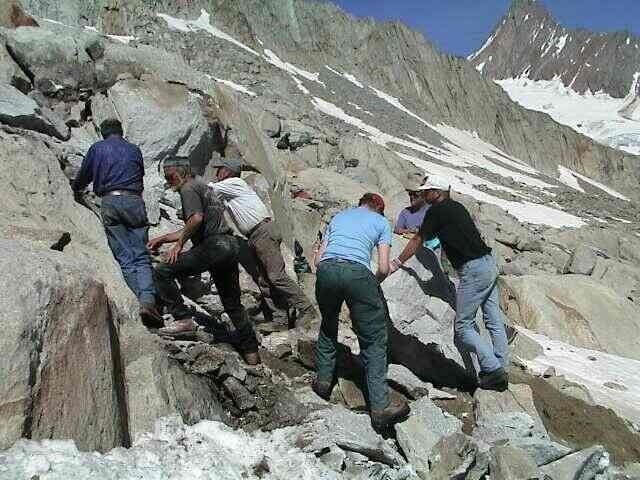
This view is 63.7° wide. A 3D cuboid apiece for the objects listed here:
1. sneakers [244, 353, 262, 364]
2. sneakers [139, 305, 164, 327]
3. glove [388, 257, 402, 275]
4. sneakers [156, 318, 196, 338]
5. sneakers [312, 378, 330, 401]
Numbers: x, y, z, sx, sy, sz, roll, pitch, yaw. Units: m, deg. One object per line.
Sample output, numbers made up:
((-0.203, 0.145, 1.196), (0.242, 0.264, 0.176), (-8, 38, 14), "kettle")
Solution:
((-0.713, 1.268, 5.506), (0.154, 0.097, 0.159), (19, 45, -19), "sneakers")
((-1.694, 0.748, 5.156), (0.110, 0.264, 0.114), (-5, 50, 6), "sneakers")
((0.812, 0.264, 5.494), (0.075, 0.211, 0.148), (3, 22, -38), "glove")
((-1.489, 0.922, 5.364), (0.340, 0.172, 0.141), (6, -11, -22), "sneakers")
((0.013, 1.530, 5.261), (0.107, 0.181, 0.173), (-20, 45, -18), "sneakers")
